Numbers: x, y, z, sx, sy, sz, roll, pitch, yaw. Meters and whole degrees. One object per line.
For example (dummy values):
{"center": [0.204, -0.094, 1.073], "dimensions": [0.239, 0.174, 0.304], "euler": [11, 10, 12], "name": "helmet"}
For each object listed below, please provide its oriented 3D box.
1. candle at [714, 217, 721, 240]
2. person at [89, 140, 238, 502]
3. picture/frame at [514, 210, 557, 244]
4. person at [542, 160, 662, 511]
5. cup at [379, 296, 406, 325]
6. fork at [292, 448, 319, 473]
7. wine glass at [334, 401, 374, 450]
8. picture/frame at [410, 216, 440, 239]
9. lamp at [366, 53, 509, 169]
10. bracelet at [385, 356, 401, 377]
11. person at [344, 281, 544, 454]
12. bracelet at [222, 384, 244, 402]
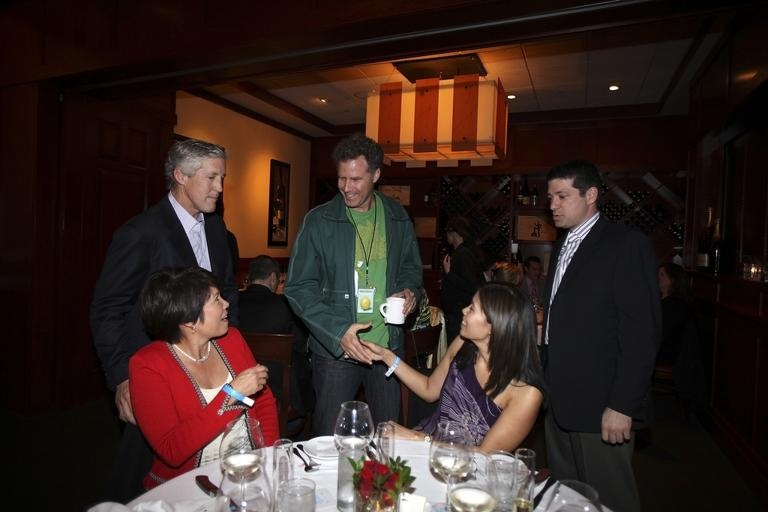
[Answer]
{"center": [3.359, -0.273, 5.331], "dimensions": [0.059, 0.202, 0.203], "euler": [2, 6, 33], "name": "candle"}
{"center": [-1.477, 0.693, 3.693], "dimensions": [0.636, 2.974, 0.985], "euler": [20, 21, 20], "name": "person"}
{"center": [2.165, -0.383, 7.602], "dimensions": [0.643, 0.523, 0.375], "euler": [0, -4, 10], "name": "picture/frame"}
{"center": [1.346, 0.477, 3.356], "dimensions": [0.729, 2.173, 0.481], "euler": [2, 6, 31], "name": "person"}
{"center": [0.065, 0.348, 3.354], "dimensions": [0.192, 0.178, 0.123], "euler": [-5, 10, -33], "name": "cup"}
{"center": [-0.397, 1.031, 2.685], "dimensions": [0.055, 0.051, 0.280], "euler": [2, 10, -22], "name": "fork"}
{"center": [-0.150, 0.818, 2.584], "dimensions": [0.182, 0.261, 0.217], "euler": [2, -10, -3], "name": "wine glass"}
{"center": [0.602, -0.405, 7.555], "dimensions": [0.445, 0.433, 0.153], "euler": [1, -2, 4], "name": "picture/frame"}
{"center": [0.504, -1.272, 5.482], "dimensions": [1.257, 0.829, 0.720], "euler": [-1, -13, 18], "name": "lamp"}
{"center": [0.074, 0.712, 3.382], "dimensions": [0.033, 0.124, 0.119], "euler": [37, 33, -5], "name": "bracelet"}
{"center": [0.337, 0.551, 3.828], "dimensions": [1.007, 1.951, 0.947], "euler": [10, 5, -4], "name": "person"}
{"center": [-0.788, 0.720, 2.761], "dimensions": [0.096, 0.118, 0.068], "euler": [-5, 6, -37], "name": "bracelet"}
